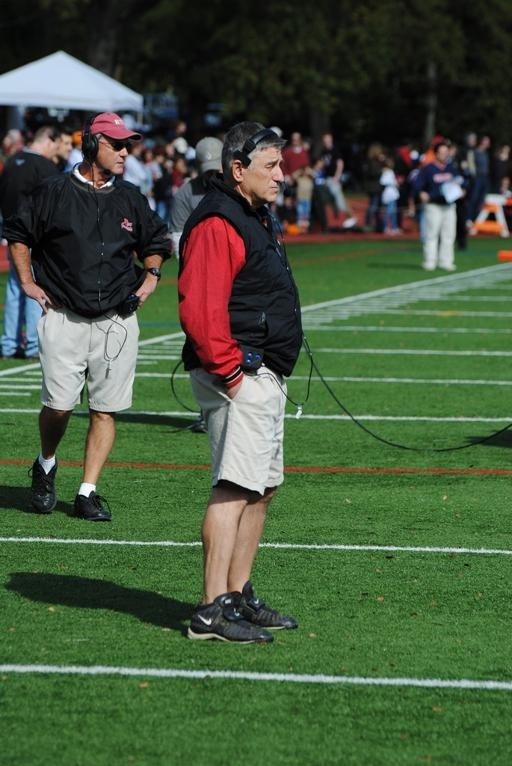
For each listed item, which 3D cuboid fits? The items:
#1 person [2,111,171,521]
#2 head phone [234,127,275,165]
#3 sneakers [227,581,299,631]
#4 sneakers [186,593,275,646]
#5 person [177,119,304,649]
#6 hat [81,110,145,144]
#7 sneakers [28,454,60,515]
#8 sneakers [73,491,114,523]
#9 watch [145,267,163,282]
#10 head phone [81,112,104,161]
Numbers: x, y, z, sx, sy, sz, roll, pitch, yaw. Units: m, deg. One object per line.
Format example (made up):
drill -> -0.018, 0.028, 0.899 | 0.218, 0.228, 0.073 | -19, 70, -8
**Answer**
person -> -0.832, -0.298, 4.579 | 0.764, 2.006, 0.422 | 0, 10, -6
head phone -> 0.003, -0.742, 2.883 | 0.062, 0.132, 0.097 | 51, 6, 9
sneakers -> -0.007, 0.789, 3.253 | 0.338, 0.134, 0.105 | 8, 2, 7
sneakers -> -0.040, 0.792, 3.060 | 0.390, 0.174, 0.125 | 4, 2, -1
person -> -0.077, 0.025, 3.016 | 0.331, 1.717, 0.509 | 7, 11, 29
hat -> -0.664, -1.198, 4.335 | 0.229, 0.098, 0.145 | 7, 16, 22
sneakers -> -1.108, 0.534, 4.803 | 0.122, 0.296, 0.128 | -2, -15, -5
sneakers -> -0.829, 0.633, 4.691 | 0.110, 0.101, 0.253 | 4, -4, -35
watch -> -0.512, -0.550, 4.679 | 0.080, 0.037, 0.064 | -14, -42, 25
head phone -> -0.780, -1.150, 4.327 | 0.077, 0.222, 0.140 | 0, 9, -10
